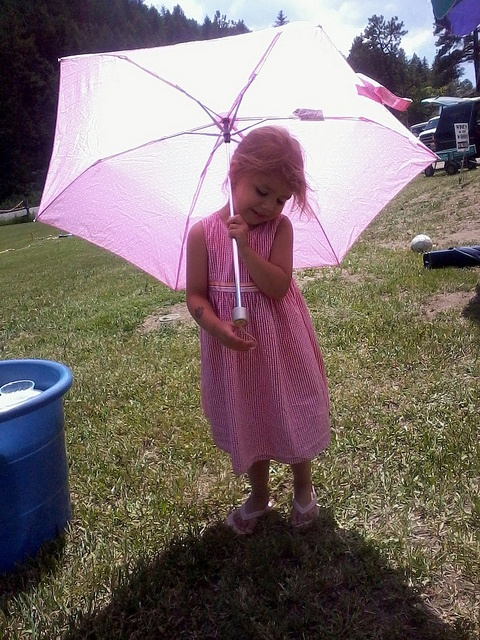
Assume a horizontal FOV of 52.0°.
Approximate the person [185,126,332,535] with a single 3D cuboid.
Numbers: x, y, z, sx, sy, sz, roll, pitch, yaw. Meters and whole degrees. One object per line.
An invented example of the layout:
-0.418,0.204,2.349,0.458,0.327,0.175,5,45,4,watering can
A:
0.061,0.115,1.843,0.411,1.570,0.569,9,15,43,person
